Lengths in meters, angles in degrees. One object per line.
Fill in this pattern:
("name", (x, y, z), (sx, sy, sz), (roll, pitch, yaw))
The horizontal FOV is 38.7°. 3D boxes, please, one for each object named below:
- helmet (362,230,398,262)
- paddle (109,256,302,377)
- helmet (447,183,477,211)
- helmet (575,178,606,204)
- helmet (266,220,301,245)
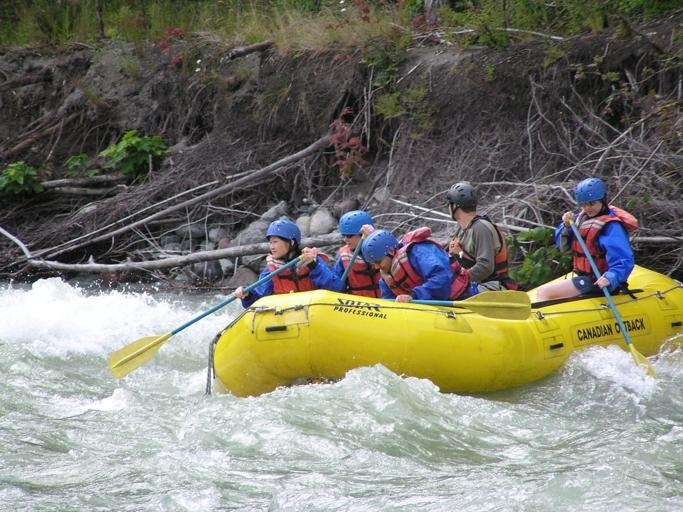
("helmet", (0.373, -0.147, 10.030), (0.379, 0.235, 0.271), (-40, 25, -6))
("paddle", (-1.783, 0.753, 11.494), (0.240, 0.404, 3.374), (36, 19, 7))
("helmet", (1.351, -0.669, 10.600), (0.286, 0.303, 0.310), (1, 53, -14))
("helmet", (2.682, -0.712, 10.469), (0.249, 0.182, 0.328), (-6, -10, 36))
("helmet", (-0.623, -0.267, 10.669), (0.348, 0.226, 0.248), (-9, 9, -30))
